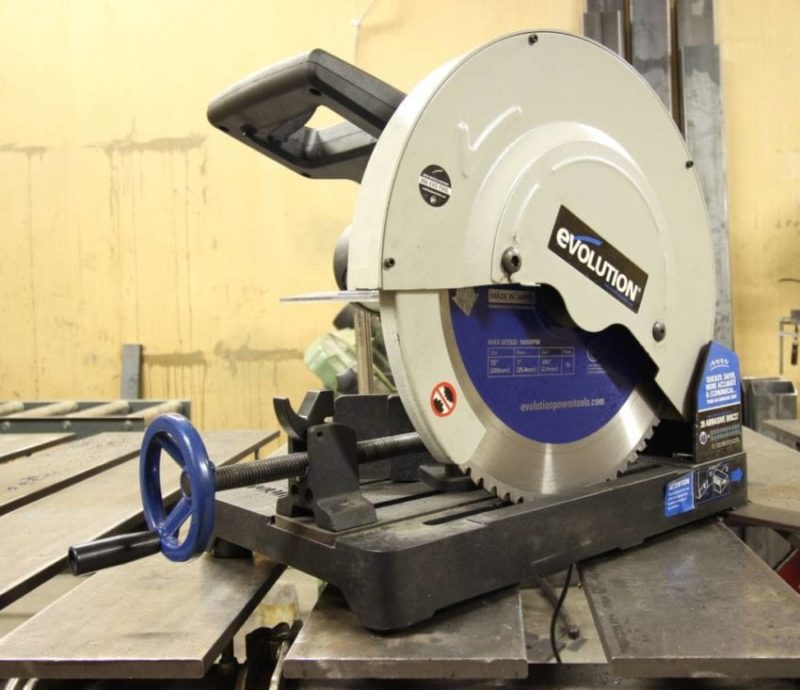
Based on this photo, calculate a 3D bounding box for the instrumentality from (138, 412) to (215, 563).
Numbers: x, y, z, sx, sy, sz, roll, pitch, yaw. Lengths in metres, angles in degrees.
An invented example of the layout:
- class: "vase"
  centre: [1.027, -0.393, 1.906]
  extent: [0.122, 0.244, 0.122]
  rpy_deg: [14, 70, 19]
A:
- class: "instrumentality"
  centre: [-0.435, 0.277, 1.772]
  extent: [0.106, 0.295, 0.275]
  rpy_deg: [-6, 7, -36]

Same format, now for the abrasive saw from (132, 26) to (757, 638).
- class: "abrasive saw"
  centre: [0.175, -0.080, 2.114]
  extent: [1.168, 1.114, 0.640]
  rpy_deg: [-7, 8, -24]
